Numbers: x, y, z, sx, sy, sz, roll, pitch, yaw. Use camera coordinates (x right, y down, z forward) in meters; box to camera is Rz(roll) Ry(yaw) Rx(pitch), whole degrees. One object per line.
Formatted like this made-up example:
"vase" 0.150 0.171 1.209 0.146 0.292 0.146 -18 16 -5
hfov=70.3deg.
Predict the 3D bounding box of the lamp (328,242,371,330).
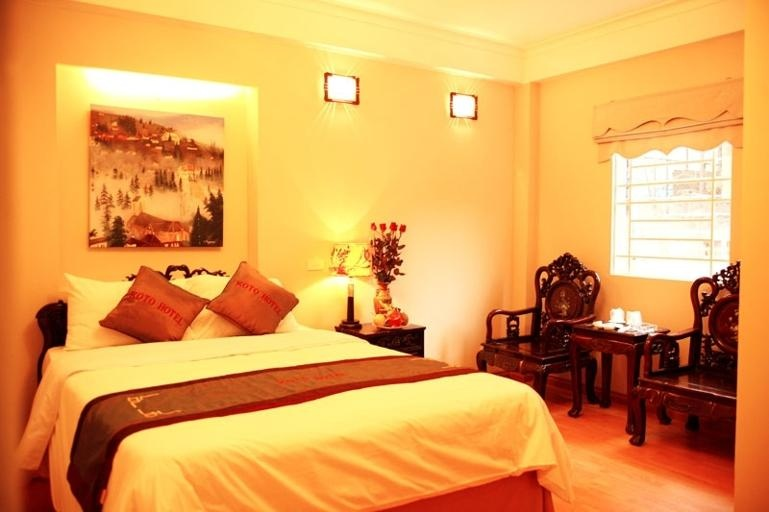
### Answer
"lamp" -0.318 0.261 5.122 0.393 0.800 0.300 1 -1 -7

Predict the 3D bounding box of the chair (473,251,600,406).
"chair" 1.512 0.791 5.499 1.160 1.455 1.192 -1 4 7

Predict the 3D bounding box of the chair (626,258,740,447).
"chair" 2.492 0.798 4.493 0.684 1.522 1.114 7 10 31

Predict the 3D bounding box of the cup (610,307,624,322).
"cup" 2.169 0.549 5.101 0.116 0.115 0.119 2 8 0

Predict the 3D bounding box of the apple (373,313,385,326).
"apple" -0.056 0.583 5.063 0.098 0.117 0.099 -1 -10 -3

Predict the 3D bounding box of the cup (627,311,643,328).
"cup" 2.311 0.574 5.038 0.155 0.178 0.158 1 -5 0

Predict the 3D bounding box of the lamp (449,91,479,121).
"lamp" 0.862 -1.621 5.894 0.380 0.278 0.063 -2 10 -27
